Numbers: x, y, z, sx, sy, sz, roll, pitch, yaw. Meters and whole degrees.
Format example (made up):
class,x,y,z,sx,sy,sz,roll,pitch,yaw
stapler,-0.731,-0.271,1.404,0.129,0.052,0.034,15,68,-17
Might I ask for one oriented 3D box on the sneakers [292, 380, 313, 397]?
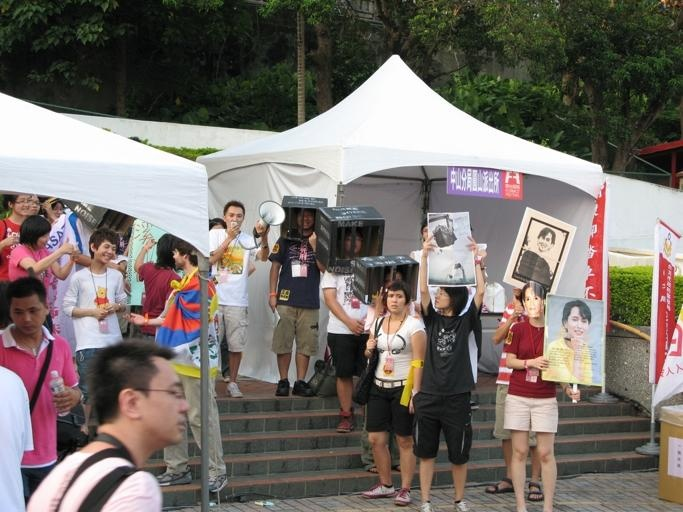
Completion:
class,x,y,z,sx,sy,sz,roll,pitch,yaw
sneakers,-0.465,1.587,10.333,0.126,0.119,0.250,3,-5,-41

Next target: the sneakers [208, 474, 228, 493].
class,x,y,z,sx,sy,sz,roll,pitch,yaw
sneakers,-1.241,2.328,8.794,0.087,0.122,0.251,1,-1,10

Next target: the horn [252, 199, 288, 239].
class,x,y,z,sx,sy,sz,roll,pitch,yaw
horn,-0.738,-0.317,9.547,0.310,0.332,0.380,-6,-46,2

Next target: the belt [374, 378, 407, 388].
class,x,y,z,sx,sy,sz,roll,pitch,yaw
belt,0.494,1.321,8.940,0.345,0.114,0.042,3,-2,23

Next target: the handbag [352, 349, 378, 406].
class,x,y,z,sx,sy,sz,roll,pitch,yaw
handbag,0.247,1.277,9.073,0.181,0.597,0.324,3,-2,-20
